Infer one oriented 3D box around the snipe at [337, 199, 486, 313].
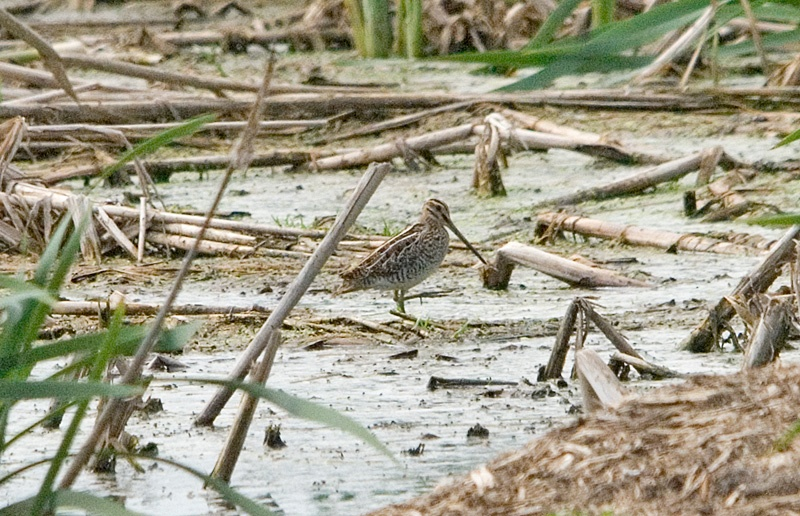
[{"bbox_3d":[0.040,0.142,7.902,0.608,0.697,1.327,16,45,20],"label":"snipe"}]
